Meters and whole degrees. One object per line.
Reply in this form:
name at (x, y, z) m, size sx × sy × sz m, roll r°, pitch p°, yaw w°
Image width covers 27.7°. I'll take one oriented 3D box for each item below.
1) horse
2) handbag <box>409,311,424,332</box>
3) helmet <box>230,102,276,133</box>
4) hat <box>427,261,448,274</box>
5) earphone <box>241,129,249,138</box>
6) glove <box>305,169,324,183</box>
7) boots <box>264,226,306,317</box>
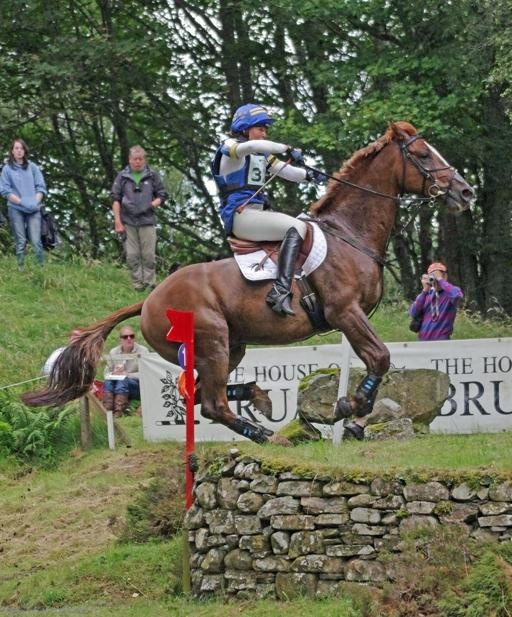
horse at (-0.145, -0.136, 10.528) m, size 4.982 × 2.854 × 1.242 m, roll -7°, pitch 0°, yaw 14°
handbag at (2.065, 0.170, 13.275) m, size 0.122 × 0.267 × 0.213 m, roll 18°, pitch 23°, yaw -10°
helmet at (-0.017, -1.901, 10.535) m, size 0.409 × 0.255 × 0.269 m, roll 6°, pitch -1°, yaw -1°
hat at (2.259, -0.497, 12.851) m, size 0.211 × 0.104 × 0.149 m, roll 0°, pitch -6°, yaw -5°
earphone at (-0.101, -1.750, 10.478) m, size 0.097 × 0.049 × 0.050 m, roll -23°, pitch -7°, yaw 22°
glove at (0.604, -1.325, 10.526) m, size 0.145 × 0.128 × 0.043 m, roll 10°, pitch 41°, yaw 4°
boots at (0.272, -0.349, 9.929) m, size 0.321 × 0.822 × 0.371 m, roll -2°, pitch 1°, yaw 11°
